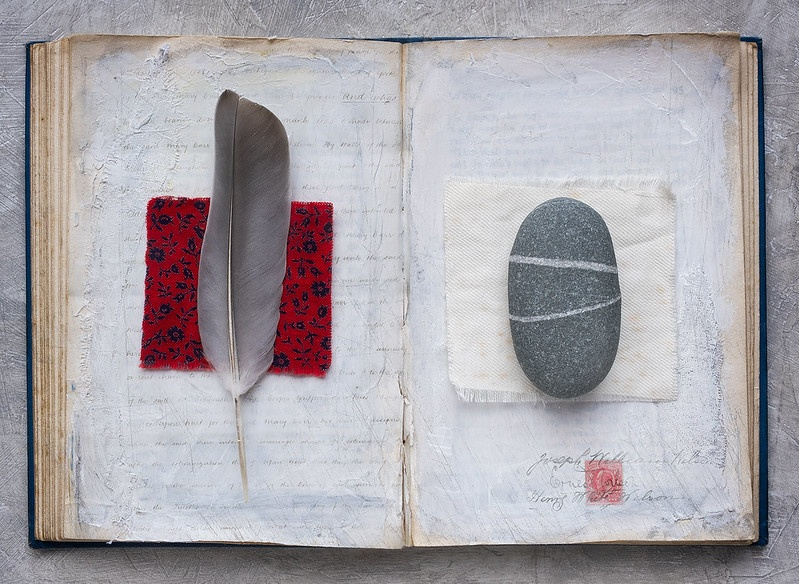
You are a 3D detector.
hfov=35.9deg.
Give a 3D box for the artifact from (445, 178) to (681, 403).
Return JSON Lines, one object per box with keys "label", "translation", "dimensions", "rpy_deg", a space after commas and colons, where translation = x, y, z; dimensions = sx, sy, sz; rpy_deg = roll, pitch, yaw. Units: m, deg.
{"label": "artifact", "translation": [0.256, -0.001, 1.958], "dimensions": [0.365, 0.322, 0.170], "rpy_deg": [-1, 26, 2]}
